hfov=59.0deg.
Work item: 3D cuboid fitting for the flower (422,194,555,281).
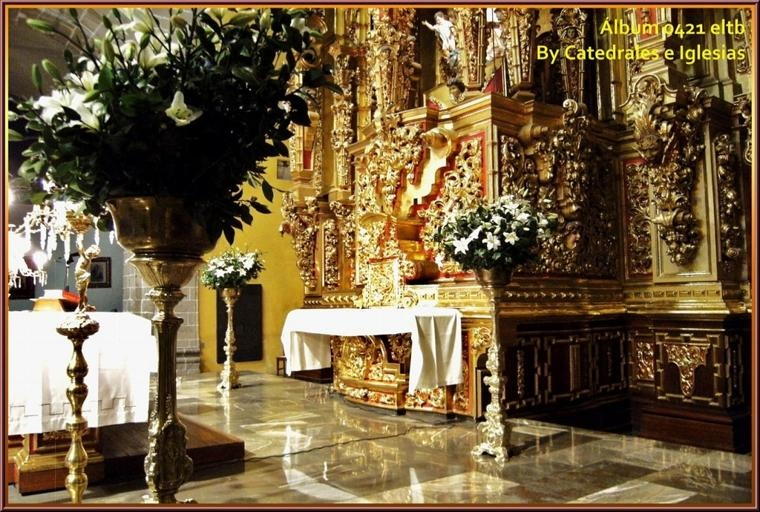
[{"bbox_3d":[0.919,-0.141,5.135,0.753,0.469,0.648,-16,-14,33],"label":"flower"}]

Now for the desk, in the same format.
[{"bbox_3d":[-2.033,0.869,4.477,1.064,0.654,1.041,1,-2,-34],"label":"desk"}]
